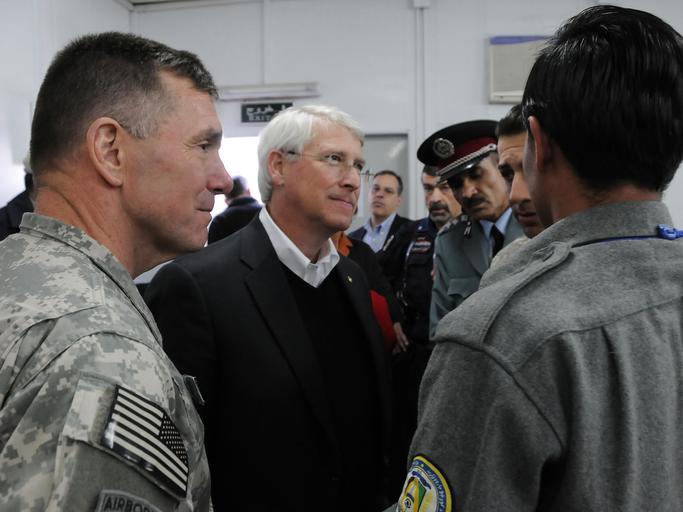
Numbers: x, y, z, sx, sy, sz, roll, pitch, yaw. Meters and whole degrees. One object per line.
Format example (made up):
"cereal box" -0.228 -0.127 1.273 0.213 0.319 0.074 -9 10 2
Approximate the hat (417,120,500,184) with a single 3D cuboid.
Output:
"hat" 0.516 -0.407 2.845 0.341 0.171 0.323 -18 -13 -32
